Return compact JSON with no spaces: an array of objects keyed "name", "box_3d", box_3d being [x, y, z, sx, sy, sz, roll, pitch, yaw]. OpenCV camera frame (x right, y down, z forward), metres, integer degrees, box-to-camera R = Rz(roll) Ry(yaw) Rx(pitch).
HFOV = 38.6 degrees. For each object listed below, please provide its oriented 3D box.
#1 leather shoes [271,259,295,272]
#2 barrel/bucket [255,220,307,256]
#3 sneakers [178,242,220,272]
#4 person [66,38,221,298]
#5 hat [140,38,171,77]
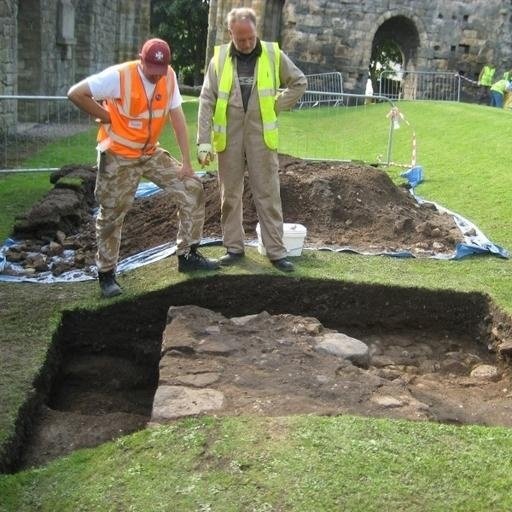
[{"name":"leather shoes","box_3d":[0.233,0.084,6.348,0.084,0.088,0.223,-5,7,-29]},{"name":"barrel/bucket","box_3d":[0.195,-0.168,6.651,0.340,0.231,0.468,26,18,31]},{"name":"sneakers","box_3d":[-0.512,0.024,6.231,0.445,0.248,0.151,-2,14,-4]},{"name":"person","box_3d":[-0.899,-0.642,5.774,1.052,2.040,0.616,0,13,-6]},{"name":"hat","box_3d":[-0.750,-1.466,5.412,0.213,0.265,0.227,0,13,-9]}]
